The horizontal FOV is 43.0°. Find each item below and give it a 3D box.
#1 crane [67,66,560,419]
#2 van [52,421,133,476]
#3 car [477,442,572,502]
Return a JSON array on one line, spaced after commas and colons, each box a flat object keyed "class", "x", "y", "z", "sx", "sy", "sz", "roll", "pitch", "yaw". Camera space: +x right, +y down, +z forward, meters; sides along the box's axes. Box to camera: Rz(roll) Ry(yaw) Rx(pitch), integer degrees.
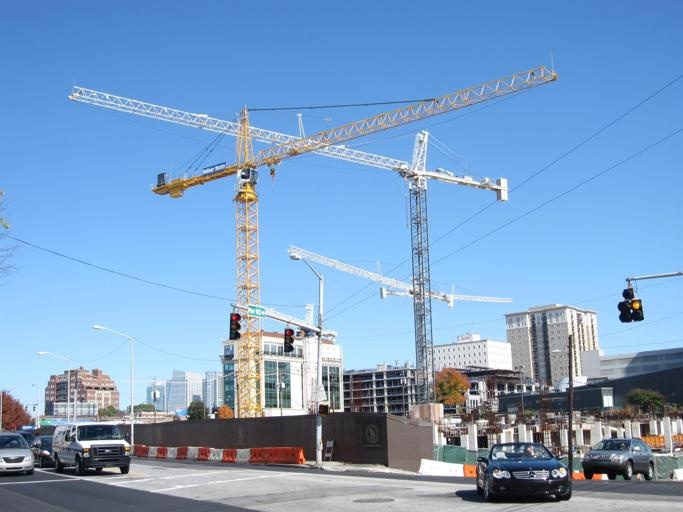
[{"class": "crane", "x": 2.173, "y": 12.690, "z": 136.697, "sx": 89.316, "sy": 52.522, "sz": 8.539, "roll": -1, "pitch": -4, "yaw": 7}, {"class": "van", "x": -13.905, "y": 10.514, "z": 47.901, "sx": 3.041, "sy": 2.218, "sz": 6.009, "roll": 4, "pitch": -11, "yaw": -34}, {"class": "car", "x": 7.689, "y": 8.861, "z": 35.257, "sx": 3.767, "sy": 2.219, "sz": 4.882, "roll": 0, "pitch": -12, "yaw": 6}]
